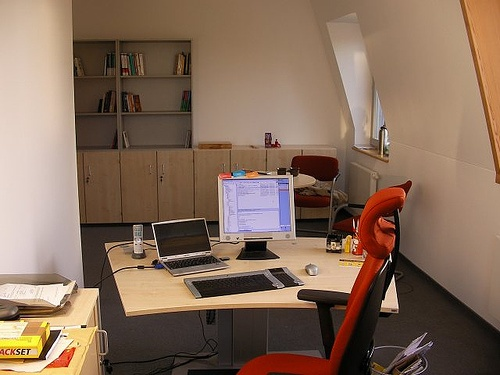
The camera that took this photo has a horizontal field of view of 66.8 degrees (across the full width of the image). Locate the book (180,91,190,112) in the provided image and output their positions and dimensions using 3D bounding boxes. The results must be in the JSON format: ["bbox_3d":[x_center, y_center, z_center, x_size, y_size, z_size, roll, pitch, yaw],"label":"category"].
[{"bbox_3d":[-1.038,-1.381,6.059,0.187,0.350,0.232,-4,9,-10],"label":"book"}]

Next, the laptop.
[{"bbox_3d":[-0.442,0.321,2.583,0.364,0.250,0.385,-6,15,-24],"label":"laptop"}]

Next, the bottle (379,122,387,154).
[{"bbox_3d":[1.938,-0.683,5.497,0.116,0.423,0.367,0,9,20],"label":"bottle"}]

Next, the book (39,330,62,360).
[{"bbox_3d":[-0.842,0.663,1.587,0.065,0.011,0.100,4,33,-1],"label":"book"}]

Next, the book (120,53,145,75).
[{"bbox_3d":[-1.796,-1.866,5.877,0.385,0.410,0.305,-2,11,-9],"label":"book"}]

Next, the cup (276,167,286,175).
[{"bbox_3d":[0.391,-0.204,4.798,0.118,0.120,0.162,3,3,15],"label":"cup"}]

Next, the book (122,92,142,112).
[{"bbox_3d":[-1.864,-1.317,5.926,0.283,0.310,0.103,-2,1,-37],"label":"book"}]

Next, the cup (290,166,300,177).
[{"bbox_3d":[0.600,-0.224,5.178,0.128,0.160,0.163,-3,5,-20],"label":"cup"}]

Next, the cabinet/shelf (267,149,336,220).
[{"bbox_3d":[0.976,0.043,5.978,0.868,1.195,0.834,5,14,13],"label":"cabinet/shelf"}]

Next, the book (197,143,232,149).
[{"bbox_3d":[-0.552,-0.653,5.958,0.516,0.115,0.199,-5,9,-11],"label":"book"}]

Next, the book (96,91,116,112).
[{"bbox_3d":[-2.214,-1.310,5.824,0.280,0.314,0.069,-1,7,8],"label":"book"}]

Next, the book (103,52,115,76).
[{"bbox_3d":[-2.157,-1.886,5.782,0.177,0.335,0.333,3,14,-5],"label":"book"}]

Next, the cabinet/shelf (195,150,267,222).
[{"bbox_3d":[-0.234,-0.104,4.219,0.960,0.983,0.331,-1,7,-5],"label":"cabinet/shelf"}]

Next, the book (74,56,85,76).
[{"bbox_3d":[-2.635,-1.873,5.833,0.067,0.254,0.186,3,7,28],"label":"book"}]

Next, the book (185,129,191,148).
[{"bbox_3d":[-0.988,-0.783,6.065,0.048,0.235,0.219,3,1,-10],"label":"book"}]

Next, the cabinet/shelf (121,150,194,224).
[{"bbox_3d":[-1.446,-0.072,5.795,0.992,1.018,0.406,0,5,-4],"label":"cabinet/shelf"}]
